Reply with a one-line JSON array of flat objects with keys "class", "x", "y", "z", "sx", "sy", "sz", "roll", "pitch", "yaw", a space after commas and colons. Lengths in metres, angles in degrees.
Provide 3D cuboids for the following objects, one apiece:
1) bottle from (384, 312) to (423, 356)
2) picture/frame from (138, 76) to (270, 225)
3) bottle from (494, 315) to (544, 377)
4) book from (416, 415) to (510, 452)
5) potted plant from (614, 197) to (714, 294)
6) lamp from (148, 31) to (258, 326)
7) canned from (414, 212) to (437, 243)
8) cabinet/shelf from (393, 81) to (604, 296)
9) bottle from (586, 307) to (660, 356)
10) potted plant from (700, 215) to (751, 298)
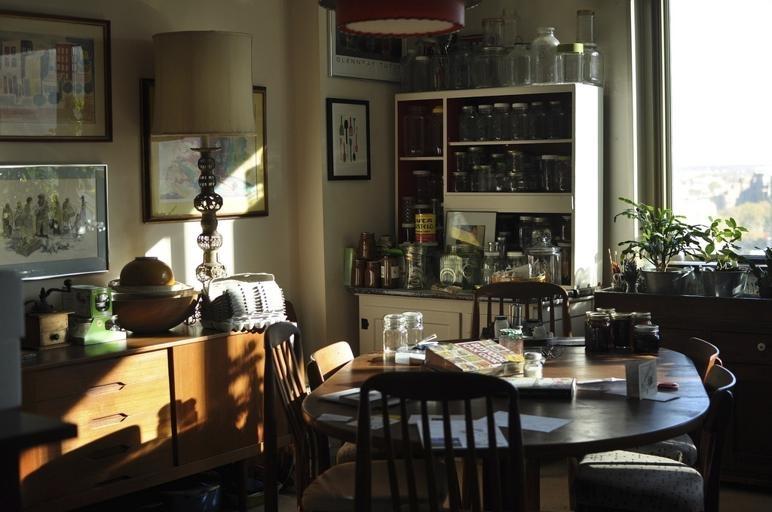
[{"class": "bottle", "x": 0.093, "y": 0.364, "z": 3.312, "sx": 0.243, "sy": 0.203, "sz": 0.130, "roll": -3, "pitch": 6, "yaw": -14}, {"class": "picture/frame", "x": -1.151, "y": -0.639, "z": 4.102, "sx": 0.085, "sy": 0.964, "sz": 1.023, "roll": 0, "pitch": 2, "yaw": 43}, {"class": "bottle", "x": 0.594, "y": 0.446, "z": 3.122, "sx": 0.258, "sy": 0.246, "sz": 0.143, "roll": 1, "pitch": 3, "yaw": 33}, {"class": "book", "x": 0.264, "y": 0.636, "z": 2.466, "sx": 0.346, "sy": 0.081, "sz": 0.295, "roll": 0, "pitch": 5, "yaw": 2}, {"class": "potted plant", "x": 1.837, "y": -0.024, "z": 4.481, "sx": 0.673, "sy": 0.637, "sz": 0.657, "roll": 0, "pitch": -4, "yaw": -2}, {"class": "lamp", "x": -1.117, "y": -0.557, "z": 4.073, "sx": 0.652, "sy": 1.456, "sz": 0.684, "roll": -3, "pitch": 6, "yaw": -24}, {"class": "canned", "x": 0.297, "y": -0.217, "z": 4.998, "sx": 0.197, "sy": 0.212, "sz": 0.194, "roll": 1, "pitch": -1, "yaw": -18}, {"class": "cabinet/shelf", "x": 0.859, "y": -0.474, "z": 4.760, "sx": 1.624, "sy": 1.475, "sz": 0.521, "roll": 0, "pitch": -1, "yaw": 30}, {"class": "bottle", "x": 1.194, "y": 0.375, "z": 3.384, "sx": 0.305, "sy": 0.166, "sz": 0.221, "roll": -1, "pitch": 0, "yaw": 20}, {"class": "potted plant", "x": 2.101, "y": 0.036, "z": 4.218, "sx": 0.221, "sy": 0.519, "sz": 0.275, "roll": -3, "pitch": 5, "yaw": -39}]
